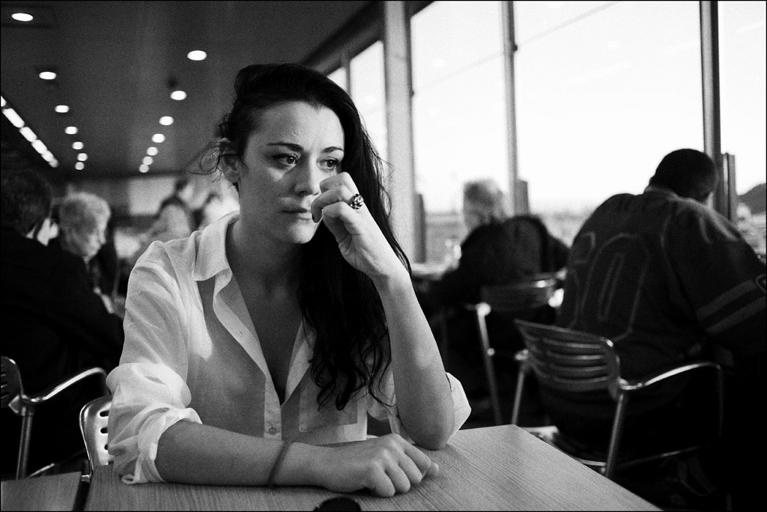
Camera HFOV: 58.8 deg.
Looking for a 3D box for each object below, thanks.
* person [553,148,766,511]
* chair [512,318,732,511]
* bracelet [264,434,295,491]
[{"bbox_3d":[0.910,0.216,2.297,0.711,1.134,0.340,1,9,33],"label":"person"},{"bbox_3d":[0.854,0.478,2.482,0.599,0.833,0.576,-5,0,-22],"label":"chair"},{"bbox_3d":[-0.237,0.467,1.527,0.070,0.079,0.024,-4,-15,14],"label":"bracelet"}]
